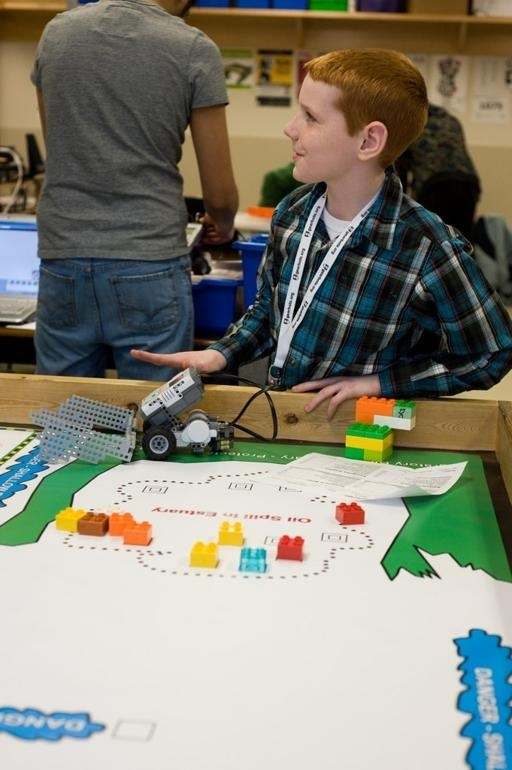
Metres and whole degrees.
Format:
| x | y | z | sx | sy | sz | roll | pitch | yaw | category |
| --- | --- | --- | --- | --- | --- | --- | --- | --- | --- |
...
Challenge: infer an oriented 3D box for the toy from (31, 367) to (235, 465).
| x | y | z | sx | sy | sz | roll | pitch | yaw | category |
| --- | --- | --- | --- | --- | --- | --- | --- | --- | --- |
| -0.150 | 0.038 | 0.911 | 0.283 | 0.110 | 0.121 | 0 | 18 | -1 | toy |

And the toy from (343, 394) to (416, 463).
| x | y | z | sx | sy | sz | roll | pitch | yaw | category |
| --- | --- | --- | --- | --- | --- | --- | --- | --- | --- |
| 0.179 | 0.052 | 0.936 | 0.093 | 0.088 | 0.096 | 4 | 13 | 17 | toy |

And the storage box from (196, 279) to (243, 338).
| x | y | z | sx | sy | sz | roll | pitch | yaw | category |
| --- | --- | --- | --- | --- | --- | --- | --- | --- | --- |
| -0.114 | -0.214 | 1.770 | 0.150 | 0.126 | 0.188 | 1 | 13 | 7 | storage box |

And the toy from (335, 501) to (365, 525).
| x | y | z | sx | sy | sz | roll | pitch | yaw | category |
| --- | --- | --- | --- | --- | --- | --- | --- | --- | --- |
| 0.107 | 0.140 | 0.716 | 0.025 | 0.017 | 0.024 | 0 | 8 | -3 | toy |
